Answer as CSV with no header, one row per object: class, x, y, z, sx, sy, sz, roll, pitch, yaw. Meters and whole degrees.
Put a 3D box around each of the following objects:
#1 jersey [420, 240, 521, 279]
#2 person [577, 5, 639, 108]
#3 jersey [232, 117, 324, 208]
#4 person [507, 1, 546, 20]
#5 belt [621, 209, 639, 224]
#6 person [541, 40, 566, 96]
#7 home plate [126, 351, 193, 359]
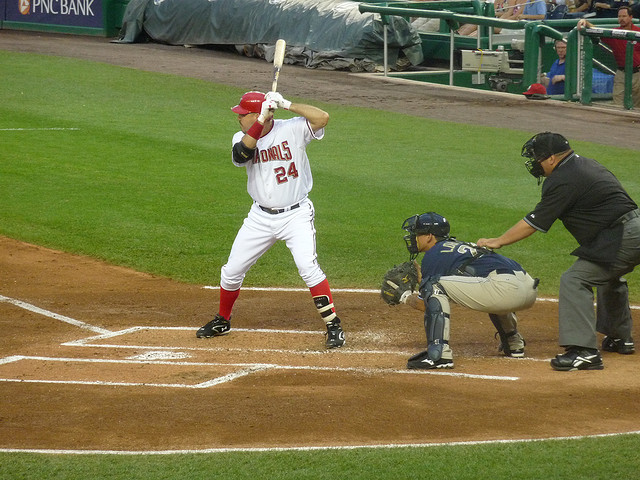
jersey,1.395,0.181,8.961,0.581,0.160,0.527,6,9,22
person,6.019,-3.716,19.028,1.235,2.044,1.291,5,9,6
jersey,-0.350,-0.792,9.518,1.175,0.774,0.494,-7,11,23
person,5.424,-5.846,24.010,0.683,0.545,1.134,2,8,-11
belt,2.915,-0.222,8.789,0.152,0.035,0.141,-24,-8,-28
person,5.152,-3.679,20.427,0.540,1.127,1.634,6,8,11
home plate,-1.547,1.127,9.216,0.582,0.035,0.197,3,7,1
